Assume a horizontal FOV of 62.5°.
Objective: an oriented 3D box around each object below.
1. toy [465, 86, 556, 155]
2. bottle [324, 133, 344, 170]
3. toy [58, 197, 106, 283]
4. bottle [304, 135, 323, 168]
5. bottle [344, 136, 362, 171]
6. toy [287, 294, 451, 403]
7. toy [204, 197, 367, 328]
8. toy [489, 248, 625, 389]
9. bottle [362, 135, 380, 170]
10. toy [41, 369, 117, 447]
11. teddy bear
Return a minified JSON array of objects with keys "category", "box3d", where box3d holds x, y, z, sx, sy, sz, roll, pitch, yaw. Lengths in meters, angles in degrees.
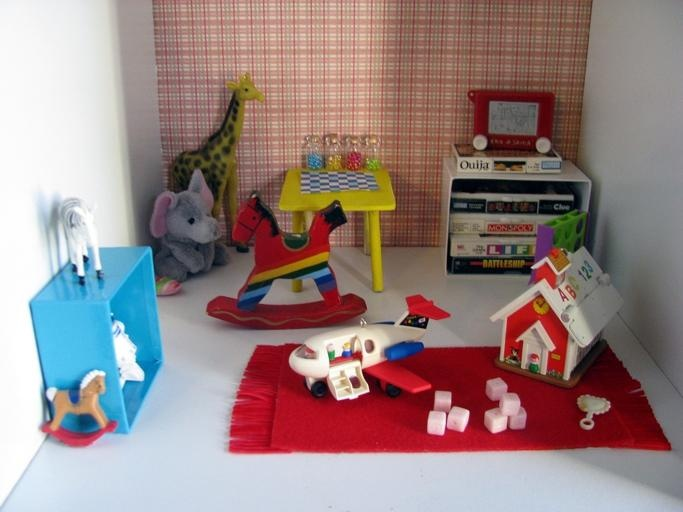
[{"category":"toy","box3d":[1.082,-0.876,3.715,0.465,0.361,0.291,1,2,3]},{"category":"bottle","box3d":[-0.048,-0.687,3.756,0.128,0.215,0.170,-1,26,-2]},{"category":"toy","box3d":[-1.093,-0.081,2.365,0.132,0.300,0.301,-12,29,-25]},{"category":"bottle","box3d":[-0.186,-0.683,3.767,0.137,0.219,0.142,0,26,0]},{"category":"bottle","box3d":[0.085,-0.682,3.754,0.128,0.200,0.175,0,26,0]},{"category":"toy","box3d":[0.113,0.445,2.438,0.486,0.276,0.544,-7,25,-15]},{"category":"toy","box3d":[-0.333,0.051,3.248,0.667,0.648,0.185,-2,14,-5]},{"category":"toy","box3d":[1.050,0.210,2.715,0.433,0.549,0.594,11,23,41]},{"category":"bottle","box3d":[0.209,-0.689,3.752,0.121,0.194,0.175,1,26,2]},{"category":"toy","box3d":[-1.055,0.599,2.257,0.246,0.277,0.086,5,21,-6]},{"category":"teddy bear","box3d":[-0.951,-0.188,3.554,0.411,0.660,0.531,24,35,27]}]
